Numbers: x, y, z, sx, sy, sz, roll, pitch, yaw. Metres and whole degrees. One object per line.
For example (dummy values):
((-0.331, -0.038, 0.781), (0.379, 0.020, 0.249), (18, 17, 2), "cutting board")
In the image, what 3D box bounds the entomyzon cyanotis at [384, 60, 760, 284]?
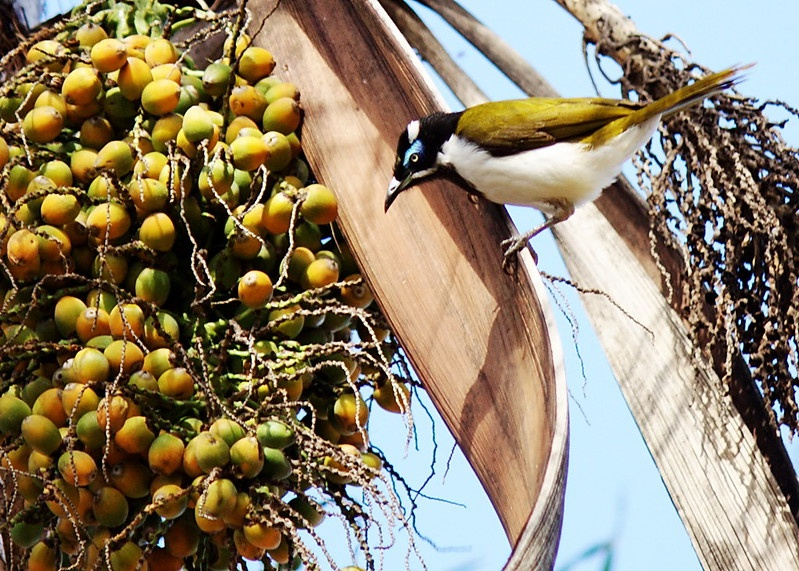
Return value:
((0.355, -0.275, 2.326), (0.756, 0.391, 0.240), (-18, -17, 3), "entomyzon cyanotis")
